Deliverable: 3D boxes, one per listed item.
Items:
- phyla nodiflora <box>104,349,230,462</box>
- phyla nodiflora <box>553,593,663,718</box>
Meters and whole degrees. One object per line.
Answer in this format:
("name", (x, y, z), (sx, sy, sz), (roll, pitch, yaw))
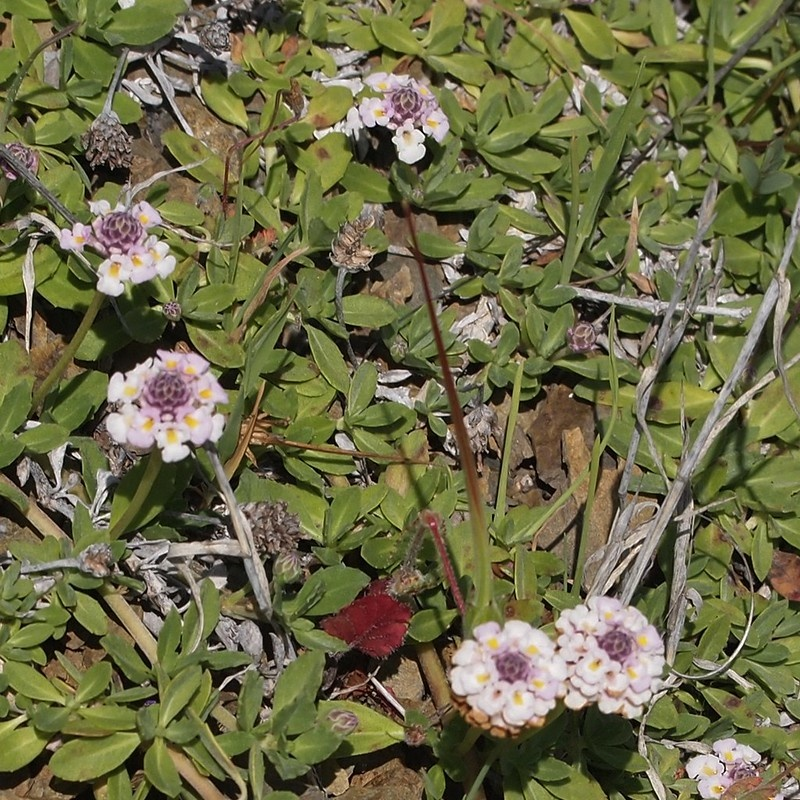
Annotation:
("phyla nodiflora", (-0.527, 0.010, 2.067), (0.260, 0.127, 0.260), (7, 63, -5))
("phyla nodiflora", (0.504, 0.589, 2.141), (0.235, 0.124, 0.283), (-18, 77, -25))
